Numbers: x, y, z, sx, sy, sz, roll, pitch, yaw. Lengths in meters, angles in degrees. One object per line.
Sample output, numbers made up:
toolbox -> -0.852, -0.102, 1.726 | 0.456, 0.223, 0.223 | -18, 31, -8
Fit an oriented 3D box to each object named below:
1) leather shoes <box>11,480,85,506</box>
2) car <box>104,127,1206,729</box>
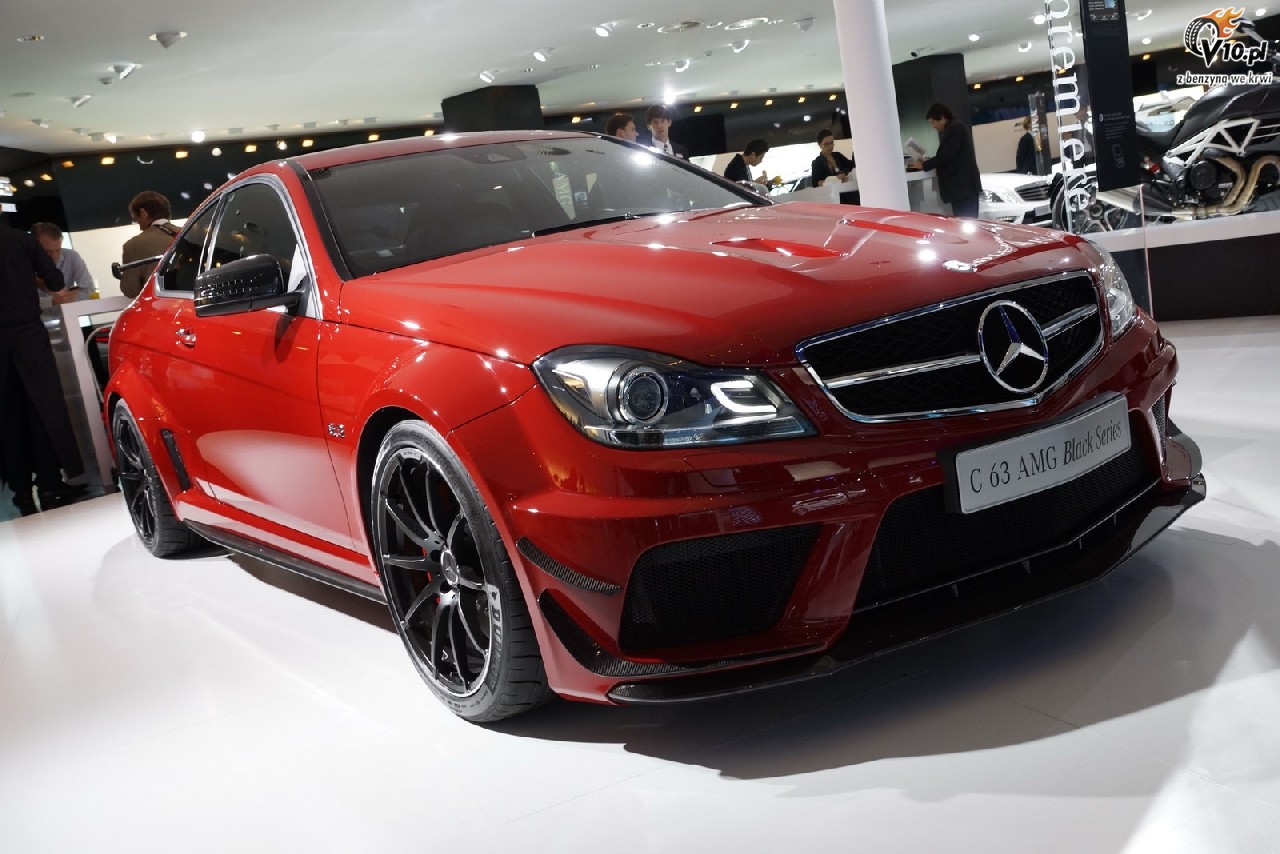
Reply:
leather shoes -> -5.059, 0.571, 6.051 | 0.548, 0.201, 0.164 | -10, 21, -19
car -> -0.672, -0.121, 2.654 | 1.949, 1.061, 3.713 | -13, 15, -42
